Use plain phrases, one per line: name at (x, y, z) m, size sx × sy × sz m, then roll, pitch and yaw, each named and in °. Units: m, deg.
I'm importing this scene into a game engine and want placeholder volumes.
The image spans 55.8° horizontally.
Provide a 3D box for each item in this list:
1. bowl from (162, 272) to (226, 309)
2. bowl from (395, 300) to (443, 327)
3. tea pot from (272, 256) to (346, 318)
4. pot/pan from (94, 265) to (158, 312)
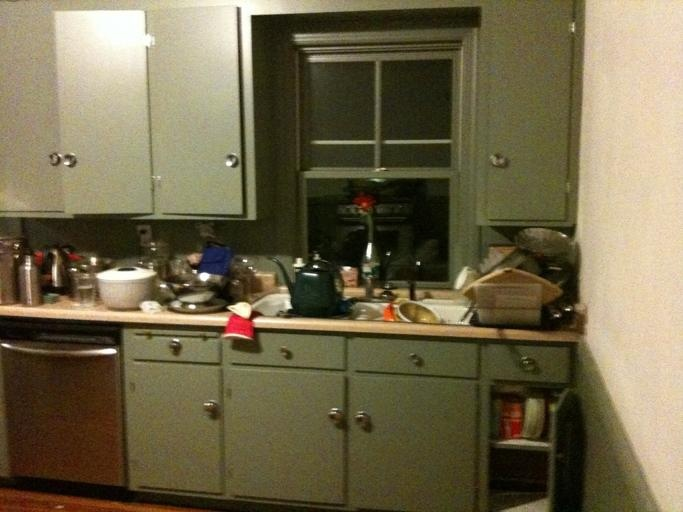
bowl at (-0.692, 0.164, 3.088) m, size 0.241 × 0.077 × 0.232 m, roll 0°, pitch 12°, yaw 0°
bowl at (0.353, 0.263, 3.023) m, size 0.151 × 0.037 × 0.121 m, roll -1°, pitch 36°, yaw -17°
tea pot at (-0.124, 0.149, 2.976) m, size 0.420 × 0.267 × 0.224 m, roll 2°, pitch 3°, yaw 16°
pot/pan at (-1.024, 0.152, 3.179) m, size 0.260 × 0.139 × 0.252 m, roll 7°, pitch 11°, yaw 36°
